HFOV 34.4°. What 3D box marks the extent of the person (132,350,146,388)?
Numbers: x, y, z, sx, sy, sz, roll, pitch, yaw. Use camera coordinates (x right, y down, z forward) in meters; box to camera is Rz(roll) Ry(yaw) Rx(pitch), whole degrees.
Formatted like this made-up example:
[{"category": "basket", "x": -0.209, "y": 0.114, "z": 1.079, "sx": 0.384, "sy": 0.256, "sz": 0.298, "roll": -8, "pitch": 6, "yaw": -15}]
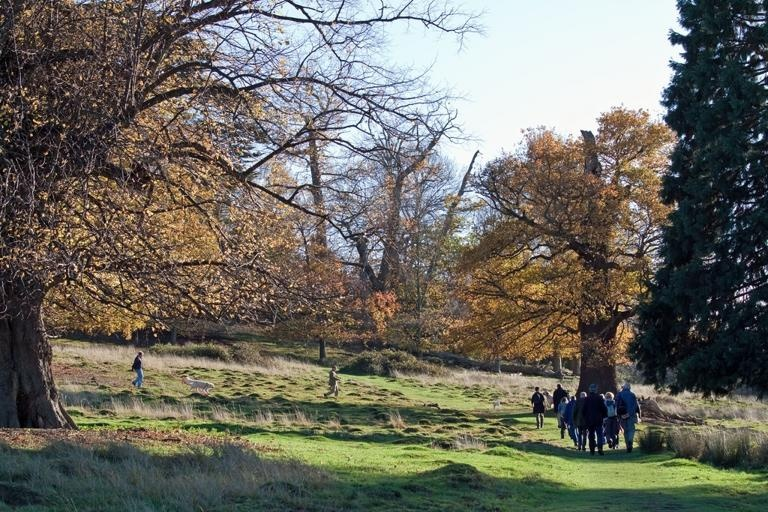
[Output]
[{"category": "person", "x": -9.404, "y": 4.395, "z": 47.680, "sx": 0.533, "sy": 1.347, "sz": 0.601, "roll": -7, "pitch": 24, "yaw": -10}]
